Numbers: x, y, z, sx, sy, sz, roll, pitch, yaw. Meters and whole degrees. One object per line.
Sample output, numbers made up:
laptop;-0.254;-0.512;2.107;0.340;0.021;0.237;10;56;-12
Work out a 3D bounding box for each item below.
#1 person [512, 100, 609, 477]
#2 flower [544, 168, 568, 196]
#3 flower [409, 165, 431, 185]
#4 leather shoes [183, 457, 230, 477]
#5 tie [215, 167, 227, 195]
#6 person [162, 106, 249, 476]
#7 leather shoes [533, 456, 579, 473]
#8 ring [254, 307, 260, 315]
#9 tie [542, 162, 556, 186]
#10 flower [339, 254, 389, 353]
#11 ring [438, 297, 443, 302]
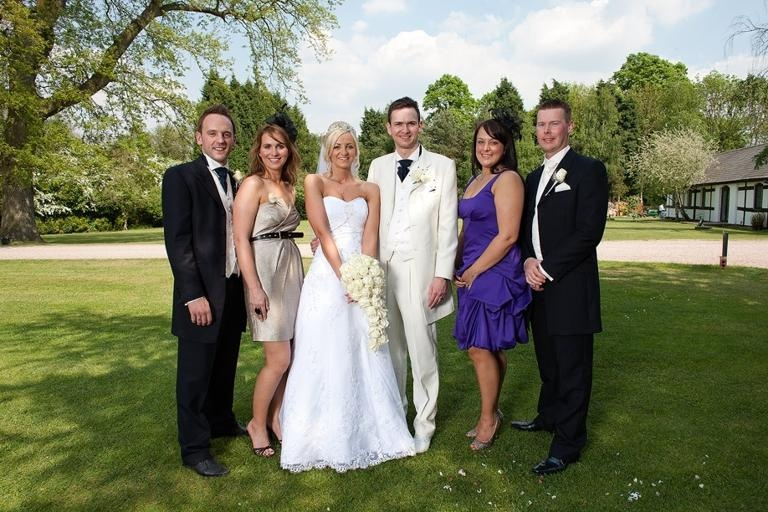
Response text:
person;2.041;0.292;6.246;0.735;4.253;0.921;-5;8;-40
flower;1.991;-0.851;6.177;0.061;0.306;0.174;0;35;-34
flower;0.430;-0.971;6.480;0.202;0.212;0.130;-5;-17;1
leather shoes;-1.995;2.334;6.022;0.393;0.166;0.225;0;-2;19
tie;-1.889;-0.873;6.213;0.083;0.272;0.193;-8;-3;38
person;-2.016;0.340;6.172;0.863;4.205;0.736;-5;8;-42
leather shoes;1.948;2.357;6.040;0.447;0.176;0.177;-2;-6;-12
ring;-1.447;0.634;6.089;0.070;0.073;0.026;0;6;-8
tie;1.937;-0.982;6.303;0.078;0.273;0.188;20;-6;-26
flower;-0.193;0.473;6.118;0.682;1.027;0.477;21;19;32
ring;0.691;0.529;6.471;0.013;0.061;0.050;17;8;43
